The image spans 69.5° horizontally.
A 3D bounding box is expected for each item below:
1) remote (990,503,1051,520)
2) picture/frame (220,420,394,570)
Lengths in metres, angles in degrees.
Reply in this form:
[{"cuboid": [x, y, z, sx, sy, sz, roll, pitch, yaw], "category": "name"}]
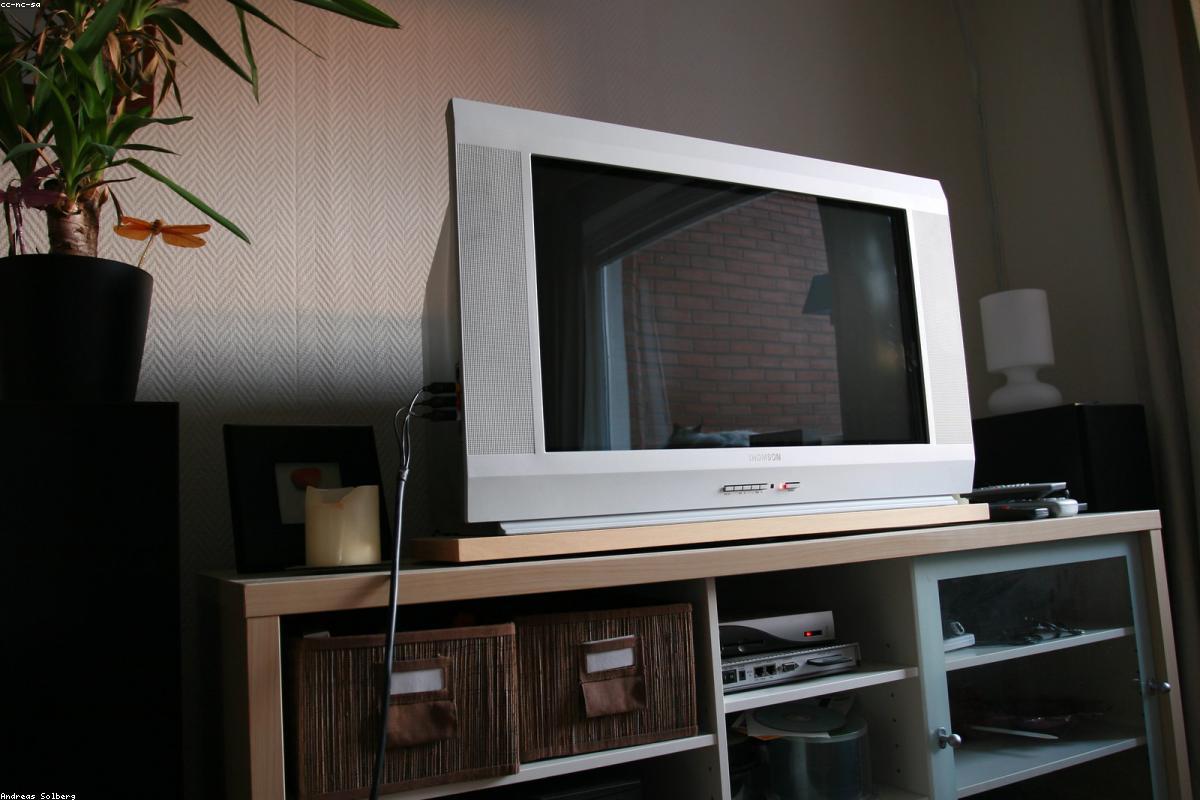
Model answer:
[{"cuboid": [0.986, 0.266, 2.049, 0.079, 0.025, 0.056, -1, -4, 14], "category": "remote"}, {"cuboid": [-0.649, 0.207, 1.798, 0.337, 0.308, 0.074, 0, -12, -33], "category": "picture/frame"}]
